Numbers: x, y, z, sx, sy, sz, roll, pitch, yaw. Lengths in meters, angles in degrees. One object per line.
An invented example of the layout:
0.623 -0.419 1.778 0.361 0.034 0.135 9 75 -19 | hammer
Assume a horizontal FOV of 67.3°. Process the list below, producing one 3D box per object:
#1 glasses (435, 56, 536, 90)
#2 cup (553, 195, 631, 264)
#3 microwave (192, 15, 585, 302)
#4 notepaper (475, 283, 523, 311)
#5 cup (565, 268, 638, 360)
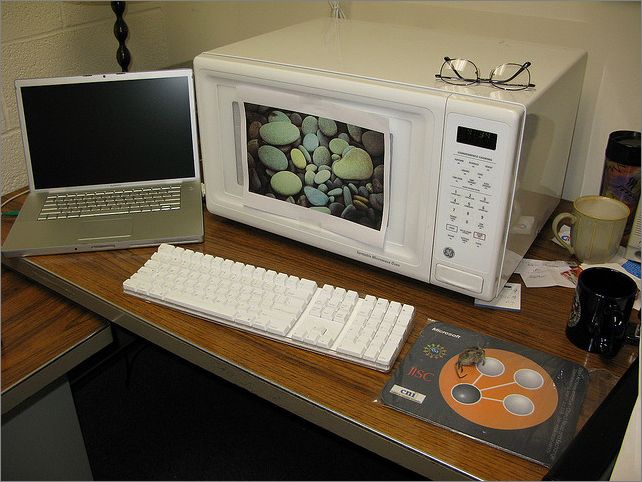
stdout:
0.287 -0.297 0.839 0.166 0.039 0.142 10 28 13 | glasses
0.524 -0.020 1.003 0.158 0.124 0.109 -9 34 8 | cup
0.149 -0.141 0.985 0.752 0.418 0.540 22 43 28 | microwave
0.339 0.112 0.895 0.047 0.005 0.070 13 42 24 | notepaper
0.452 0.115 0.781 0.086 0.125 0.077 17 29 26 | cup
